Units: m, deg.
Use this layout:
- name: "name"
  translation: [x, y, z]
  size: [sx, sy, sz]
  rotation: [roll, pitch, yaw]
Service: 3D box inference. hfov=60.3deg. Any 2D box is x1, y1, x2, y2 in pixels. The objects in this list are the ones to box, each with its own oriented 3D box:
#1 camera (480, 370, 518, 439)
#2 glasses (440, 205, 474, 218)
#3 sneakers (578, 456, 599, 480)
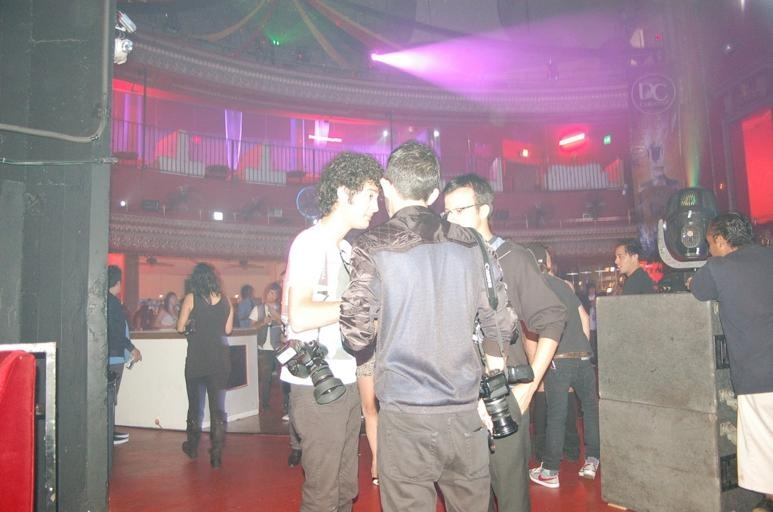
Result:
- name: "camera"
  translation: [0.916, 1.263, 5.686]
  size: [0.331, 0.535, 0.252]
  rotation: [-11, -17, 3]
- name: "glasses"
  translation: [0.635, -0.427, 6.390]
  size: [0.385, 0.116, 0.145]
  rotation: [4, 8, 42]
- name: "sneakers"
  translation: [2.316, 2.443, 7.667]
  size: [0.131, 0.149, 0.332]
  rotation: [-5, -29, 16]
